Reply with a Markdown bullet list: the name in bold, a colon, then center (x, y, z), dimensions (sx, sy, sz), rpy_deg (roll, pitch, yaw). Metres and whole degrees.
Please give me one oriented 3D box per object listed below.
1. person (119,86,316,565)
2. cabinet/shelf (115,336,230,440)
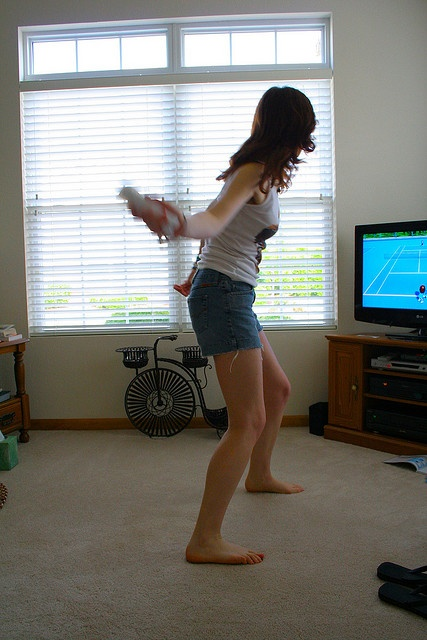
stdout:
- **person**: center (-0.009, 0.030, 1.388), dimensions (0.346, 0.905, 0.612), rpy_deg (-1, 1, 40)
- **cabinet/shelf**: center (-0.302, 0.437, 3.249), dimensions (0.765, 0.725, 0.425), rpy_deg (2, -1, -6)
